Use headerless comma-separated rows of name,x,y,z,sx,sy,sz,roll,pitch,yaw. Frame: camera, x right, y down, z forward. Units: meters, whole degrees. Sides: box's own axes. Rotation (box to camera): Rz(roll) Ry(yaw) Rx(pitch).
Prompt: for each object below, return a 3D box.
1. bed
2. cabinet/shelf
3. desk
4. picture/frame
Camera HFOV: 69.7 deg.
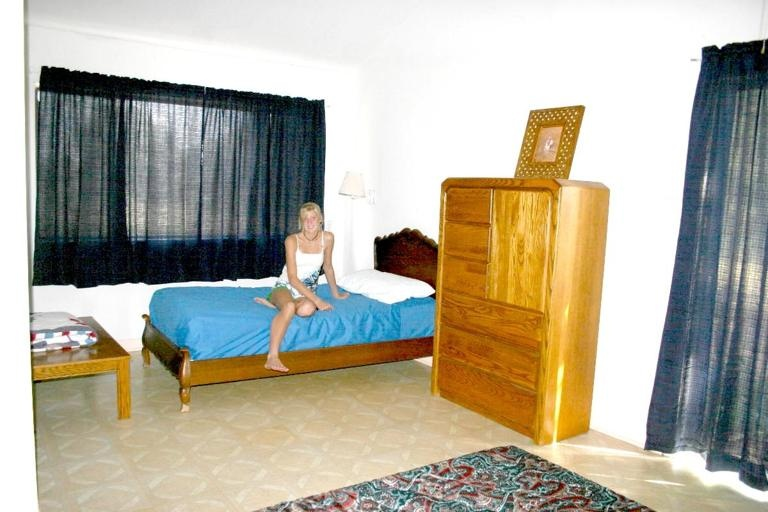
bed,-0.994,0.510,5.541,2.692,1.337,1.565,-1,6,-23
cabinet/shelf,1.154,0.373,4.622,0.674,2.058,1.216,-11,20,-40
desk,-2.532,1.003,4.651,0.657,0.540,0.806,-5,15,-27
picture/frame,1.344,-0.949,4.578,0.521,0.597,0.395,13,18,35
